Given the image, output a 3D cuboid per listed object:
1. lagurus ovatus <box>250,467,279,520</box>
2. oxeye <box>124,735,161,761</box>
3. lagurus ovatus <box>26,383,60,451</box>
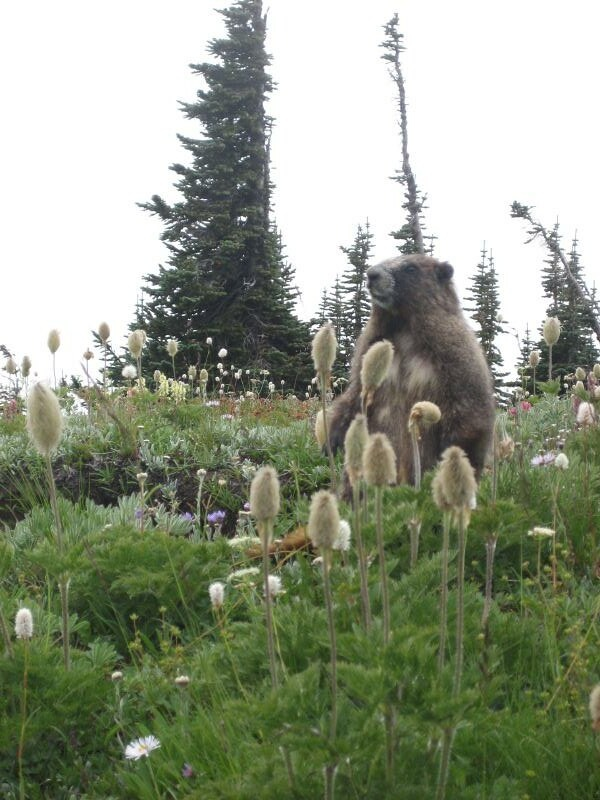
[{"bbox_3d":[-0.099,0.270,3.201,0.064,0.173,0.072,4,-6,22],"label":"lagurus ovatus"},{"bbox_3d":[-0.546,1.206,3.931,0.091,0.062,0.105,-5,-1,34],"label":"oxeye"},{"bbox_3d":[-0.896,0.077,3.933,0.075,0.297,0.092,-5,17,-13],"label":"lagurus ovatus"}]
